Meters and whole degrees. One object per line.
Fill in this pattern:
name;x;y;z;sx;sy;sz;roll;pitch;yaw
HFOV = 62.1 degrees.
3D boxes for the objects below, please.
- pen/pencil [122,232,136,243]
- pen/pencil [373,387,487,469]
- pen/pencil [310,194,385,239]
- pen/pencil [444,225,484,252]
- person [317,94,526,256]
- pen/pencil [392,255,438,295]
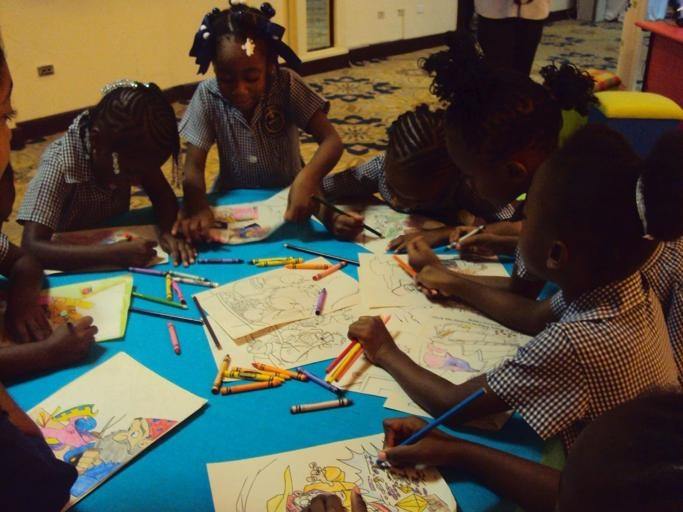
pen/pencil;-0.614;-0.057;1.633;0.044;0.015;0.013;12;27;17
pen/pencil;0.176;0.333;1.082;0.218;0.023;0.024;-32;64;-7
pen/pencil;0.020;-0.123;1.772;0.270;0.020;0.021;32;12;9
pen/pencil;0.358;-0.053;1.640;0.141;0.016;0.016;-33;2;36
person;0.286;-0.250;1.894;0.890;0.417;0.476;9;-17;26
pen/pencil;0.197;0.050;1.489;0.021;0.020;0.145;-36;49;-9
